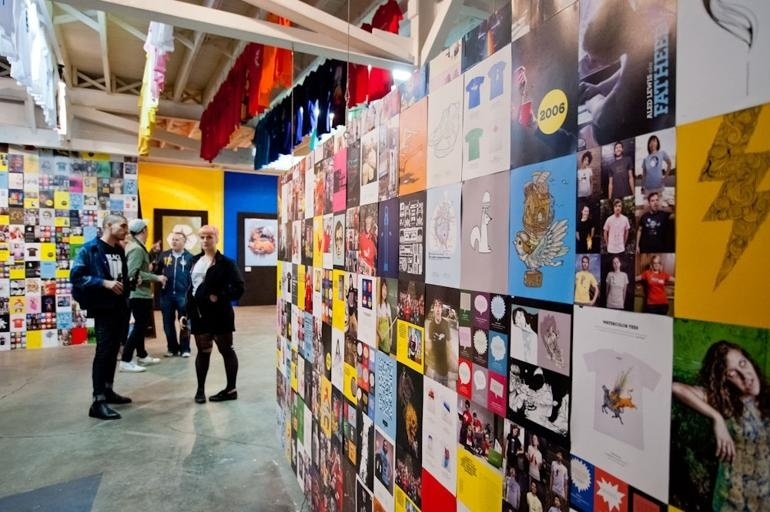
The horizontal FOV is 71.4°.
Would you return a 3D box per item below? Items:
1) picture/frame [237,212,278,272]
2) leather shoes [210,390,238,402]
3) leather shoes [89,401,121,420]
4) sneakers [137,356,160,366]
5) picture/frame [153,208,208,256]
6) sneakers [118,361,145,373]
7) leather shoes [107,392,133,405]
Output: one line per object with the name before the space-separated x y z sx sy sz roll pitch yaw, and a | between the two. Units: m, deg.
picture/frame | -2.802 -0.275 11.562 1.260 1.473 0.109 1 -1 -33
leather shoes | -1.521 1.318 5.053 0.228 0.096 0.107 7 -11 -19
leather shoes | -2.408 1.338 4.654 0.338 0.152 0.125 4 -2 9
sneakers | -2.835 1.253 6.372 0.287 0.133 0.108 0 -1 -9
picture/frame | -3.588 -0.416 9.241 0.993 0.986 0.073 -1 1 -37
sneakers | -2.825 1.242 5.999 0.318 0.132 0.126 6 0 -13
leather shoes | -2.447 1.311 4.933 0.249 0.102 0.086 2 3 -20
